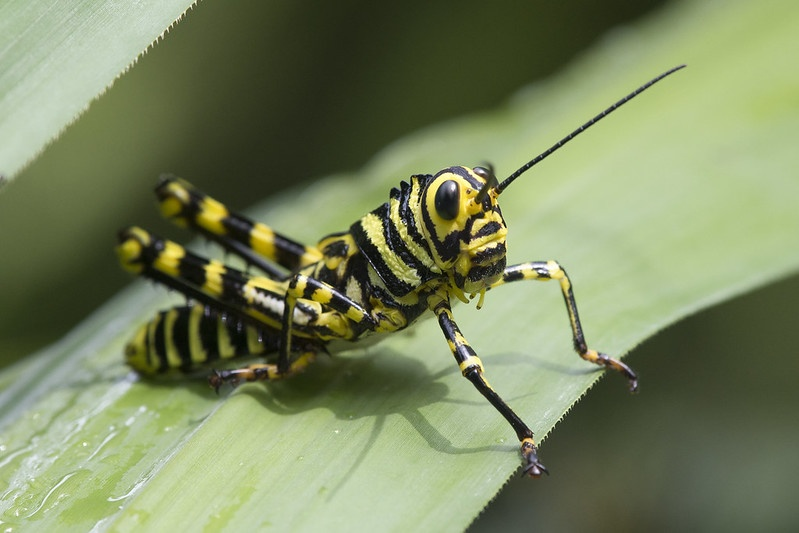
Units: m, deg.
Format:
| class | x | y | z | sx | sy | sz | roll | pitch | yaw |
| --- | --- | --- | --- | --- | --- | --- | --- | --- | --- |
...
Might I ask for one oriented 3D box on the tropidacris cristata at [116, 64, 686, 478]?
| class | x | y | z | sx | sy | sz | roll | pitch | yaw |
| --- | --- | --- | --- | --- | --- | --- | --- | --- | --- |
| tropidacris cristata | -0.161 | 0.037 | 3.457 | 2.148 | 1.163 | 1.126 | -3 | 12 | 20 |
